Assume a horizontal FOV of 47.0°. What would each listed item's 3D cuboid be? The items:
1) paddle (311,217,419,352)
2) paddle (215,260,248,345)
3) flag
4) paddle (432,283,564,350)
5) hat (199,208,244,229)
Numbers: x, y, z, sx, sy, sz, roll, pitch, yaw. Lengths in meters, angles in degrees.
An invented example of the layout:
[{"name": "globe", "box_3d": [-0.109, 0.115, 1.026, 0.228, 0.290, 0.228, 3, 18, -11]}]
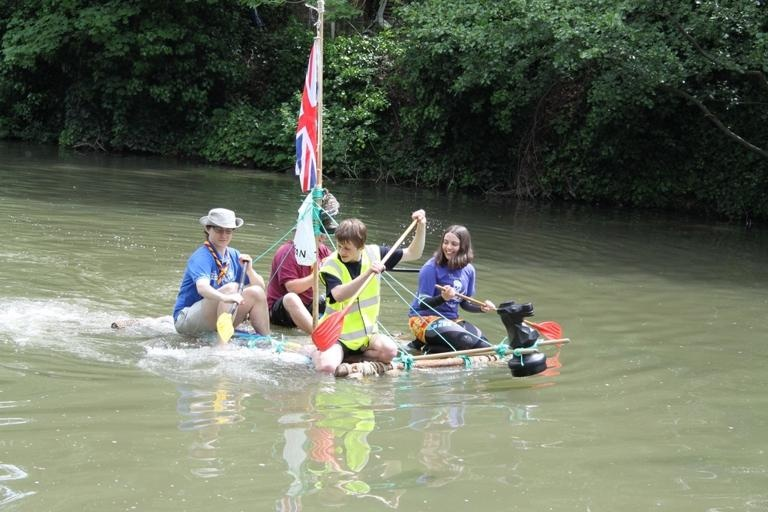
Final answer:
[{"name": "paddle", "box_3d": [-0.255, 0.447, 11.842, 0.455, 2.500, 0.093, 44, -20, 3]}, {"name": "paddle", "box_3d": [-1.974, 0.570, 11.419, 0.097, 0.250, 1.202, -22, 21, 22]}, {"name": "flag", "box_3d": [-0.963, -1.849, 11.497, 0.273, 1.933, 0.462, 2, 14, -6]}, {"name": "paddle", "box_3d": [1.529, 0.855, 12.034, 1.811, 0.372, 0.135, 24, 8, -2]}, {"name": "hat", "box_3d": [-2.126, -0.479, 11.466, 0.386, 0.154, 0.438, 2, -2, -22]}]
